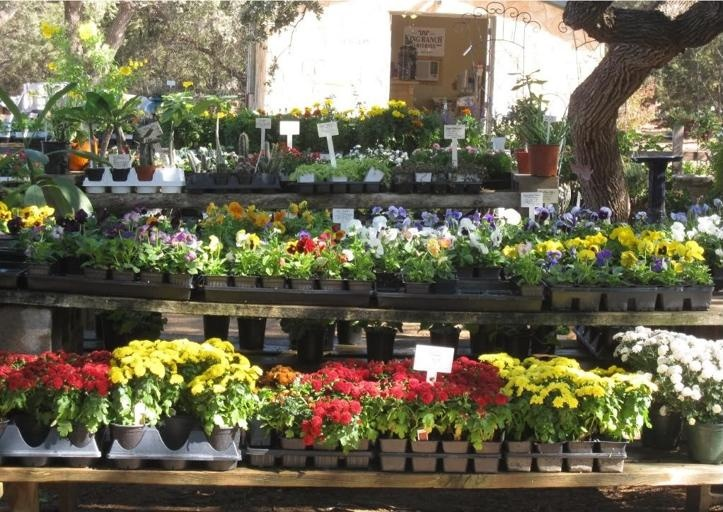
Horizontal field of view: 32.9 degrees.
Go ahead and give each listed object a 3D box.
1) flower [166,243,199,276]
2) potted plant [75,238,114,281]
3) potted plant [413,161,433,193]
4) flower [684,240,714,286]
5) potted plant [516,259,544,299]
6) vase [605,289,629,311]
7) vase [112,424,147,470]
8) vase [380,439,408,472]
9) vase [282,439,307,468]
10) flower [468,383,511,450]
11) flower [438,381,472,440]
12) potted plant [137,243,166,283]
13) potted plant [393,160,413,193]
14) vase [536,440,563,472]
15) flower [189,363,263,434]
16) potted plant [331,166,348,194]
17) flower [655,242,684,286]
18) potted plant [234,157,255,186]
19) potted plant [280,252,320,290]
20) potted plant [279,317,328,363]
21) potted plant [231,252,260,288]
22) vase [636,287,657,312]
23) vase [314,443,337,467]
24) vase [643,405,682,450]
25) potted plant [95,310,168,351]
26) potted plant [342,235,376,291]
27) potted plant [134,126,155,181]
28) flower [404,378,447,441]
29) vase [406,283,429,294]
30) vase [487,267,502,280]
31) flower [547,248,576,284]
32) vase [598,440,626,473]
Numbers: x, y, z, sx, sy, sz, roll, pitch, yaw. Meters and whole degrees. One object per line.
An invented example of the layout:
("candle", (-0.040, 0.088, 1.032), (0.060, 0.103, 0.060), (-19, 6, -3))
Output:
("flower", (-1.444, 0.027, 9.841), (0.255, 0.153, 0.244), (6, 13, 11))
("potted plant", (-2.171, 0.023, 9.949), (0.272, 0.331, 0.126), (1, 2, 2))
("potted plant", (0.582, -0.748, 11.411), (0.238, 0.334, 0.225), (3, 26, 5))
("flower", (2.734, 0.056, 9.941), (0.226, 0.349, 0.283), (1, 2, 15))
("potted plant", (1.371, 0.173, 9.871), (0.204, 0.307, 0.187), (1, 2, 8))
("vase", (2.059, 0.347, 9.832), (0.186, 0.174, 0.178), (2, 2, 15))
("vase", (-1.787, 1.455, 9.366), (0.326, 0.308, 0.315), (2, -1, -21))
("vase", (0.255, 1.532, 9.403), (0.192, 0.168, 0.254), (1, 7, -1))
("vase", (-0.510, 1.515, 9.451), (0.237, 0.262, 0.201), (0, -7, -2))
("flower", (0.979, 1.266, 9.394), (0.326, 0.416, 0.105), (0, 2, -15))
("flower", (0.633, 1.189, 9.553), (0.413, 0.403, 0.364), (0, 7, -2))
("potted plant", (-1.659, 0.060, 9.944), (0.298, 0.288, 0.280), (3, 23, -4))
("potted plant", (0.387, -0.727, 11.416), (0.214, 0.276, 0.164), (1, 2, -1))
("vase", (1.447, 1.540, 9.428), (0.215, 0.215, 0.222), (0, -4, 7))
("flower", (-1.053, 1.085, 9.543), (0.594, 0.587, 0.495), (9, 13, -12))
("potted plant", (-0.205, -0.707, 11.373), (0.152, 0.238, 0.086), (0, 2, -3))
("flower", (2.481, 0.060, 9.881), (0.232, 0.345, 0.165), (0, 2, -6))
("potted plant", (-1.087, -0.787, 11.350), (0.169, 0.251, 0.141), (-1, -2, -1))
("potted plant", (-0.510, 0.113, 9.894), (0.281, 0.260, 0.274), (1, 17, 0))
("potted plant", (-0.485, 0.700, 10.427), (0.420, 0.294, 0.389), (0, -1, 18))
("potted plant", (-0.898, 0.090, 9.976), (0.311, 0.298, 0.262), (0, 9, -2))
("vase", (2.284, 0.338, 9.710), (0.179, 0.203, 0.209), (2, -1, 4))
("vase", (-0.276, 1.551, 9.513), (0.183, 0.168, 0.176), (2, 3, 1))
("vase", (2.379, 1.352, 9.826), (0.302, 0.332, 0.339), (-1, 12, -10))
("potted plant", (-2.008, 0.637, 10.671), (0.519, 0.336, 0.346), (1, 6, 4))
("potted plant", (-0.019, 0.073, 9.969), (0.260, 0.418, 0.243), (1, 2, -1))
("potted plant", (-2.024, -0.962, 11.460), (0.169, 0.523, 0.326), (0, 2, -10))
("flower", (0.488, 1.187, 9.387), (0.388, 0.448, 0.404), (4, -16, 8))
("vase", (0.448, 0.254, 9.842), (0.140, 0.060, 0.095), (2, 1, -1))
("vase", (1.114, 0.141, 10.097), (0.097, 0.096, 0.179), (2, 2, 41))
("flower", (1.599, 0.089, 9.922), (0.216, 0.265, 0.236), (1, 2, 8))
("vase", (1.931, 1.548, 9.442), (0.273, 0.206, 0.225), (0, 4, 6))
